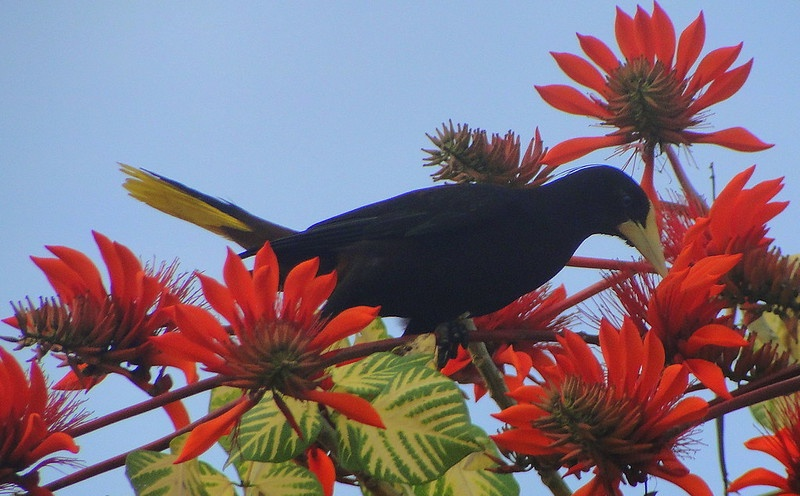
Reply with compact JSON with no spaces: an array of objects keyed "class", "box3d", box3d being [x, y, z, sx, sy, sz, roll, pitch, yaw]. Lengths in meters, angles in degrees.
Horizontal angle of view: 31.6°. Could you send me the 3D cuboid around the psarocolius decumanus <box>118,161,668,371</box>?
[{"class":"psarocolius decumanus","box3d":[-0.013,0.013,1.958,0.748,0.292,0.213,5,-20,9]}]
